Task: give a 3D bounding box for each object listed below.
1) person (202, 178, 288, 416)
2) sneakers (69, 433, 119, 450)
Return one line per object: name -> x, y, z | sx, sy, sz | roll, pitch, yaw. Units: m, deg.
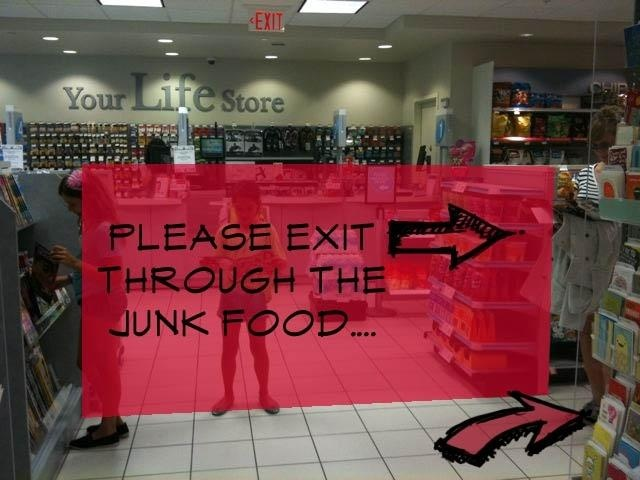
person -> -0.413, 0.333, 2.444 | 0.436, 1.288, 0.223 | -1, 15, -5
sneakers -> -1.353, 1.207, 2.647 | 0.280, 0.090, 0.105 | 2, -7, -10
